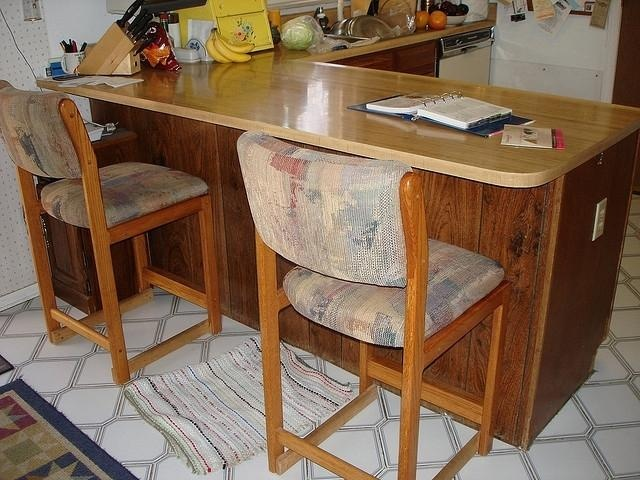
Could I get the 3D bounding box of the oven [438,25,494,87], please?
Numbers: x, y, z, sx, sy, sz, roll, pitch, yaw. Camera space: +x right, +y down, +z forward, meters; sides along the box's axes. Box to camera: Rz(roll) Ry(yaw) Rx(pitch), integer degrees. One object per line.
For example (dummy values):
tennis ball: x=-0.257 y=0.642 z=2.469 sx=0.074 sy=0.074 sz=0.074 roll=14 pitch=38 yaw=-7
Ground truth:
oven: x=1.065 y=-1.390 z=4.104 sx=0.491 sy=0.456 sz=0.318 roll=-22 pitch=35 yaw=-20

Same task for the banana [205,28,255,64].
banana: x=-0.489 y=-1.108 z=2.899 sx=0.224 sy=0.135 sz=0.130 roll=10 pitch=13 yaw=-5

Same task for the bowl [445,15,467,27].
bowl: x=1.036 y=-1.661 z=3.934 sx=0.086 sy=0.079 sz=0.176 roll=21 pitch=38 yaw=36

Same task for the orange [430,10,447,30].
orange: x=0.856 y=-1.600 z=3.848 sx=0.137 sy=0.129 sz=0.135 roll=-14 pitch=7 yaw=18

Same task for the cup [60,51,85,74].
cup: x=-1.278 y=-0.920 z=2.675 sx=0.128 sy=0.118 sz=0.080 roll=-17 pitch=34 yaw=-35

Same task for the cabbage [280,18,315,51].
cabbage: x=-0.132 y=-1.230 z=3.163 sx=0.196 sy=0.160 sz=0.115 roll=-14 pitch=-6 yaw=18

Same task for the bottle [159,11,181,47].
bottle: x=-0.841 y=-1.197 z=2.954 sx=0.113 sy=0.184 sz=0.078 roll=-15 pitch=33 yaw=-17

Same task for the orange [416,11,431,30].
orange: x=0.758 y=-1.624 z=3.843 sx=0.095 sy=0.120 sz=0.062 roll=1 pitch=32 yaw=9

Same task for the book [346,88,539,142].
book: x=0.420 y=-0.472 z=1.891 sx=0.395 sy=0.062 sz=0.289 roll=17 pitch=30 yaw=32
